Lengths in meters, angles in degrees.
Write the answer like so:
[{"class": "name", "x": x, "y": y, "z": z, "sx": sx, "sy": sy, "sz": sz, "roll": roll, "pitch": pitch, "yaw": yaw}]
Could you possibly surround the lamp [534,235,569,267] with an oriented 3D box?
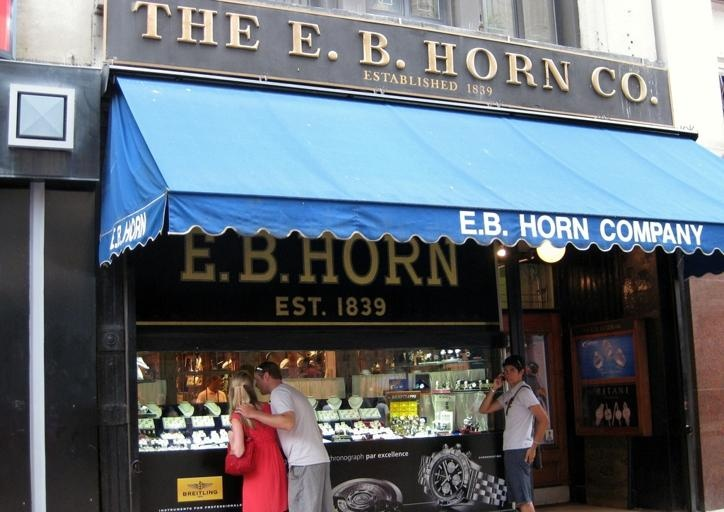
[{"class": "lamp", "x": 2.269, "y": -0.073, "z": 9.559, "sx": 0.239, "sy": 0.261, "sz": 0.291, "roll": 6, "pitch": -25, "yaw": 9}]
